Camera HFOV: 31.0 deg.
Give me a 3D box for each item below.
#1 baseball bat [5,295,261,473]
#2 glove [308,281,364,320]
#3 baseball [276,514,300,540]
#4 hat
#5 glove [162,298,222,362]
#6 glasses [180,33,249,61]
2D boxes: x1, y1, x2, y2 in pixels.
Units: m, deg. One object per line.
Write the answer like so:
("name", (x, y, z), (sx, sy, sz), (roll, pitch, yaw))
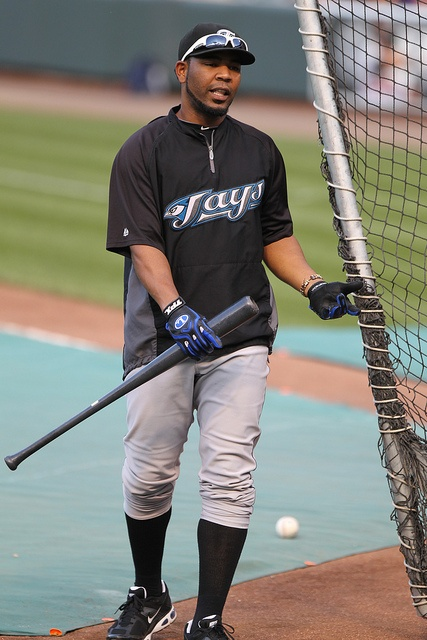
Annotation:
("baseball bat", (-0.416, 0.310, 3.330), (1.785, 0.151, 0.174), (-28, 17, 1))
("glove", (0.360, -0.063, 2.335), (0.166, 0.106, 0.102), (5, -25, -22))
("baseball", (0.305, 0.844, 3.146), (0.096, 0.087, 0.081), (-4, 13, -7))
("hat", (0.006, -0.802, 2.284), (0.140, 0.079, 0.178), (7, -11, -29))
("glove", (-0.066, 0.034, 2.143), (0.058, 0.184, 0.107), (-51, -4, 35))
("glasses", (0.007, -0.812, 2.269), (0.195, 0.077, 0.146), (3, 3, -4))
